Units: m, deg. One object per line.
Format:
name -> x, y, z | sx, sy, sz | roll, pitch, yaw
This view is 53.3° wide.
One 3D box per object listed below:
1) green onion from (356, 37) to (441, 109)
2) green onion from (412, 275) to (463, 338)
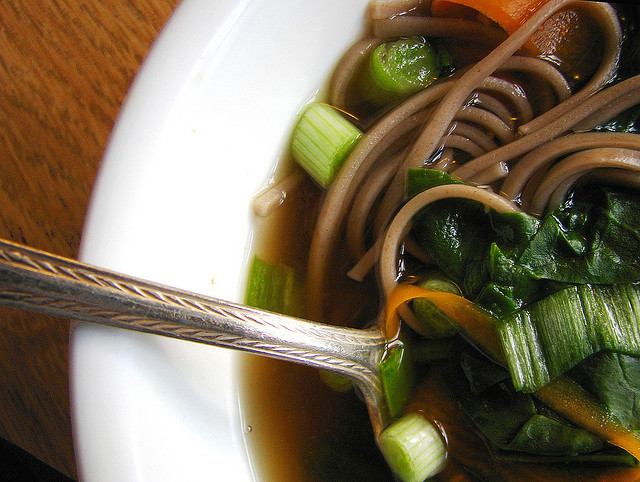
green onion -> 0.182, -0.390, 1.478 | 0.194, 0.111, 0.063 | -1, 0, -1
green onion -> 0.246, 0.152, 1.368 | 0.065, 0.120, 0.106 | -35, -24, -25
